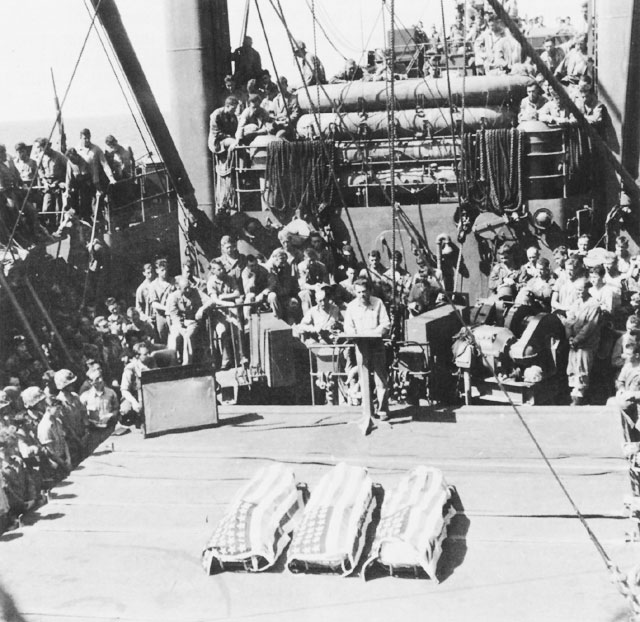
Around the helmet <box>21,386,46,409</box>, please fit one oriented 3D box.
[{"bbox_3d":[-2.622,0.780,16.311,0.221,0.207,0.293,-9,8,-12],"label":"helmet"}]

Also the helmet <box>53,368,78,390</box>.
[{"bbox_3d":[-2.353,0.631,16.415,0.154,0.104,0.185,-35,22,-14],"label":"helmet"}]
